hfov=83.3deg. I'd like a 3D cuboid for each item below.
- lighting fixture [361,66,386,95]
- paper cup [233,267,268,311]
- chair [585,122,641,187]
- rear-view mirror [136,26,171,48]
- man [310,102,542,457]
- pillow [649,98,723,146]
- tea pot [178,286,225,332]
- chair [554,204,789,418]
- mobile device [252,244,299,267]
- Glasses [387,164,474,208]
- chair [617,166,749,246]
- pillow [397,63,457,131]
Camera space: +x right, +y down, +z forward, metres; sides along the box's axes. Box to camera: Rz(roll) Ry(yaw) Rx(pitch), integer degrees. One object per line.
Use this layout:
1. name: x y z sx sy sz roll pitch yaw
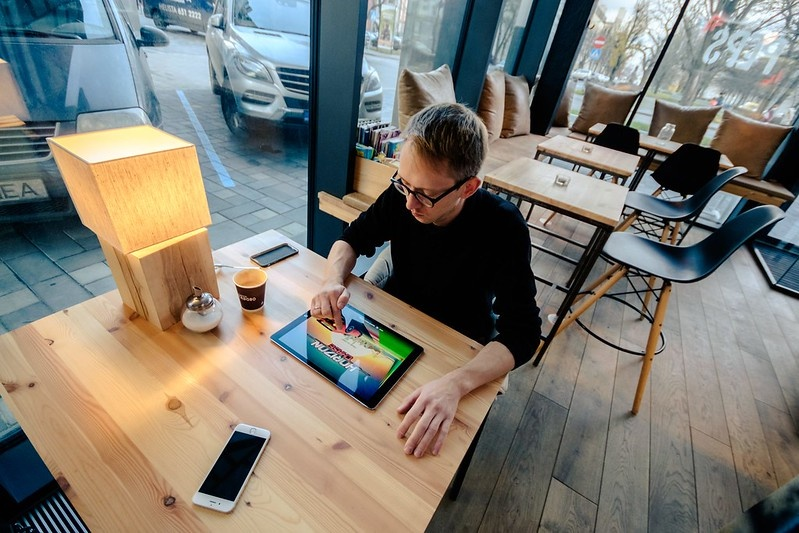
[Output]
1. lighting fixture: -0.192 -1.238 3.043 0.112 0.099 0.198 1 50 2
2. paper cup: -0.663 0.109 1.990 0.117 0.123 0.119 1 43 -1
3. chair: 2.021 -0.977 4.256 0.369 0.400 0.501 17 81 25
4. rear-view mirror: -1.295 -1.177 2.332 0.114 0.082 0.034 4 50 -16
5. man: 0.129 0.198 2.322 1.063 1.851 1.039 28 36 37
6. pillow: 3.159 -1.556 4.912 0.710 0.657 0.250 20 20 37
7. tea pot: -0.860 0.182 1.943 0.170 0.226 0.164 5 36 -3
8. chair: 1.619 0.079 2.899 0.732 1.236 0.743 -25 50 -37
9. mobile device: -0.626 -0.052 2.209 0.178 0.024 0.105 -26 49 -33
10. Glasses: 0.140 -0.345 2.030 0.216 0.059 0.207 -43 55 -16
11. chair: 2.498 -0.529 3.966 0.579 0.747 0.457 28 63 20
12. pillow: 0.208 -1.202 3.250 0.192 0.419 0.565 22 36 34
